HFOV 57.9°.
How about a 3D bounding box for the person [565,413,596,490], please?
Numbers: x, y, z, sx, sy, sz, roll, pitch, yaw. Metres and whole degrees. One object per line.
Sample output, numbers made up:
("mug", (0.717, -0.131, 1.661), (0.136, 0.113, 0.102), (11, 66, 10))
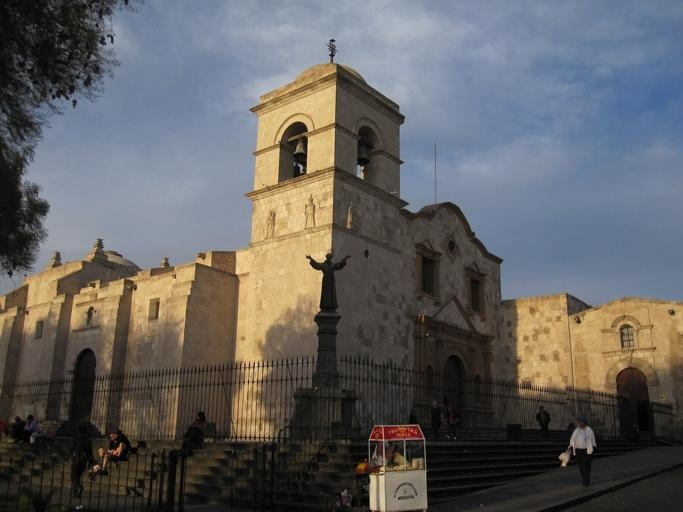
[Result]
("person", (5.995, 4.681, 15.366), (0.627, 1.718, 0.395), (1, 18, 32))

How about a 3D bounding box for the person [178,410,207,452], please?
("person", (-4.204, 4.896, 17.528), (0.588, 1.224, 1.565), (4, -22, -12))
